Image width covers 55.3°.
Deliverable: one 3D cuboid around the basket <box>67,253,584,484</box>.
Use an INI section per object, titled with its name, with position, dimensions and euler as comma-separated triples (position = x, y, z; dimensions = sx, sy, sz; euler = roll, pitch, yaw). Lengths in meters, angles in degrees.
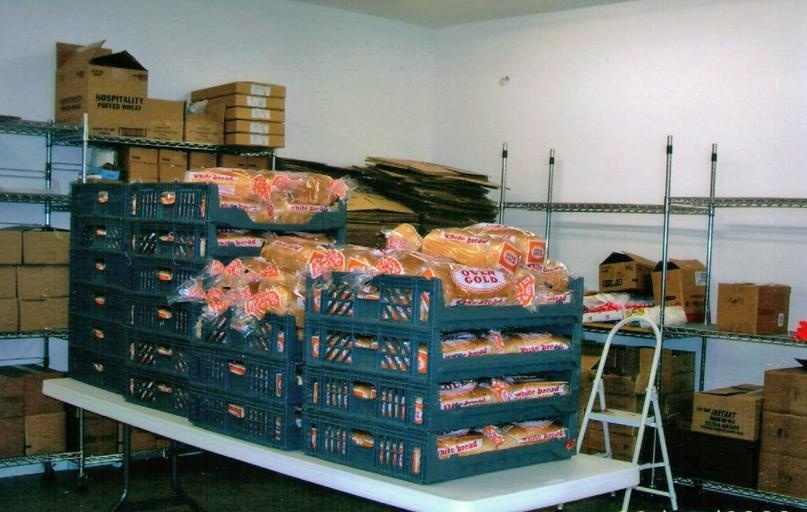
[basket]
position = -0.348, 0.497, 3.971
dimensions = 1.761, 0.545, 0.981
euler = 7, 6, 42
